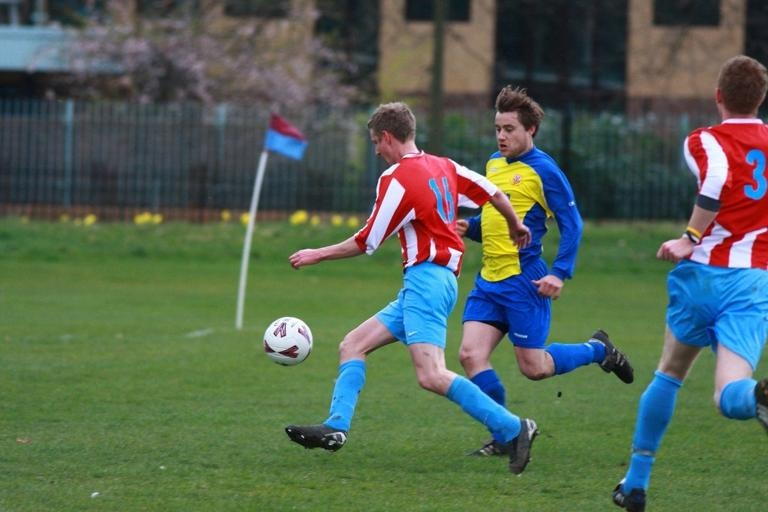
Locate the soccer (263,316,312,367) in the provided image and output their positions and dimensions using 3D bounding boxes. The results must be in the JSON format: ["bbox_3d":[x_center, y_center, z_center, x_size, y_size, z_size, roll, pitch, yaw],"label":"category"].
[{"bbox_3d":[-0.953,0.901,15.033,0.540,0.489,0.493,0,-32,21],"label":"soccer"}]

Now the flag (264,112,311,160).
[{"bbox_3d":[-1.316,-1.612,19.524,0.750,0.715,0.111,-8,29,-44],"label":"flag"}]
